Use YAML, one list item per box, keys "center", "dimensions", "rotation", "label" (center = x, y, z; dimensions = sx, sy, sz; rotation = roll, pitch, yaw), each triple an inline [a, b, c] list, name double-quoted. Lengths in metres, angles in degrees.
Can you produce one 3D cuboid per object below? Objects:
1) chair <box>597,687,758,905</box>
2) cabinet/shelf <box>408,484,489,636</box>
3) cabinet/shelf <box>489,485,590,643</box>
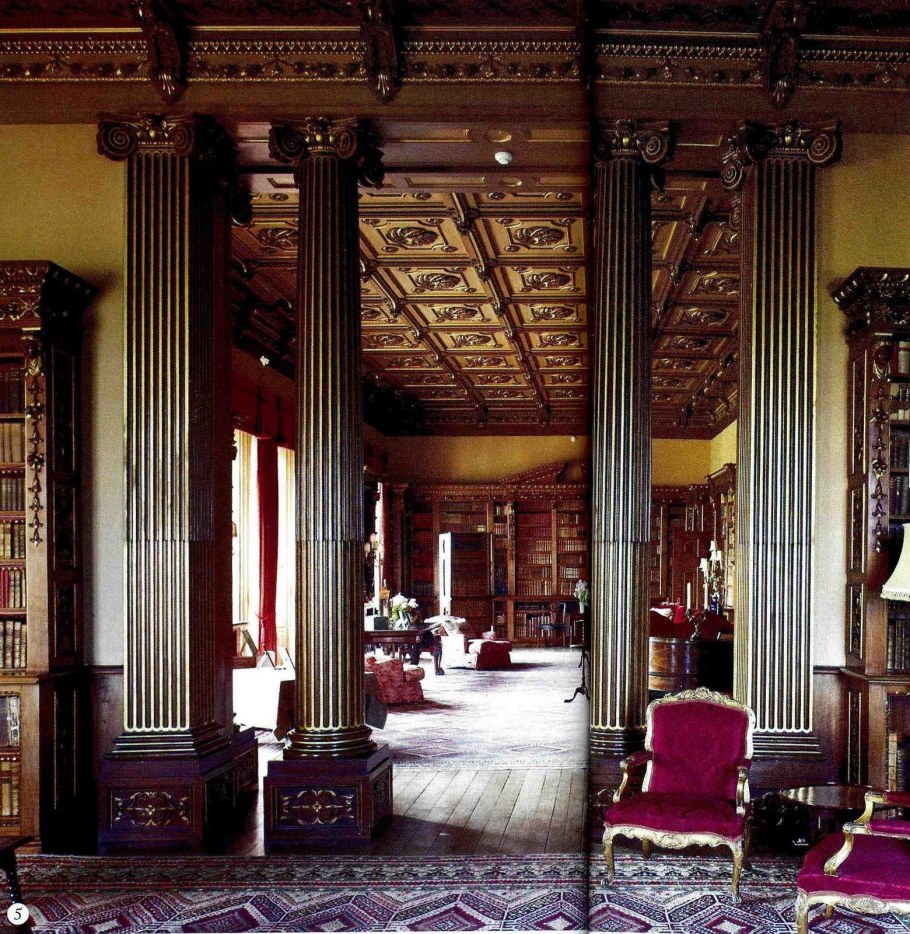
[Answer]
- center: [1.241, 1.625, 5.224]
  dimensions: [1.026, 1.150, 0.893]
  rotation: [-4, -21, 23]
  label: "chair"
- center: [0.235, 1.888, 19.043]
  dimensions: [1.068, 1.850, 1.588]
  rotation: [-10, 18, -16]
  label: "cabinet/shelf"
- center: [1.527, 1.853, 18.686]
  dimensions: [1.705, 2.947, 0.511]
  rotation: [-2, -7, -1]
  label: "cabinet/shelf"
